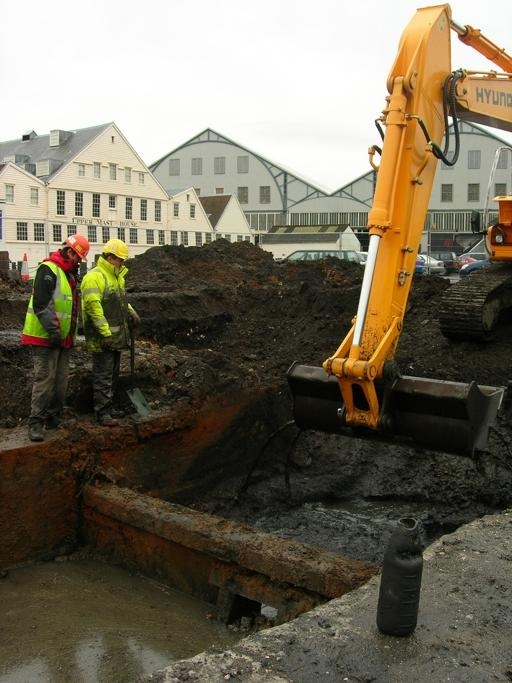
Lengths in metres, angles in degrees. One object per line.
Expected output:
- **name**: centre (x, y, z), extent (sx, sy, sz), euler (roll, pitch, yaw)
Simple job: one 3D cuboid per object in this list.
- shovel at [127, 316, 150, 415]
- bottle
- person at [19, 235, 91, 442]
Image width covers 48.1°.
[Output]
- **shovel**: centre (-1.285, 0.333, 6.201), extent (0.205, 0.865, 0.313), euler (2, 3, 9)
- **bottle**: centre (0.658, 1.055, 2.569), extent (0.241, 0.506, 0.239), euler (-3, -3, 0)
- **person**: centre (-1.834, -0.040, 5.286), extent (0.587, 1.861, 0.656), euler (-2, -3, -15)
